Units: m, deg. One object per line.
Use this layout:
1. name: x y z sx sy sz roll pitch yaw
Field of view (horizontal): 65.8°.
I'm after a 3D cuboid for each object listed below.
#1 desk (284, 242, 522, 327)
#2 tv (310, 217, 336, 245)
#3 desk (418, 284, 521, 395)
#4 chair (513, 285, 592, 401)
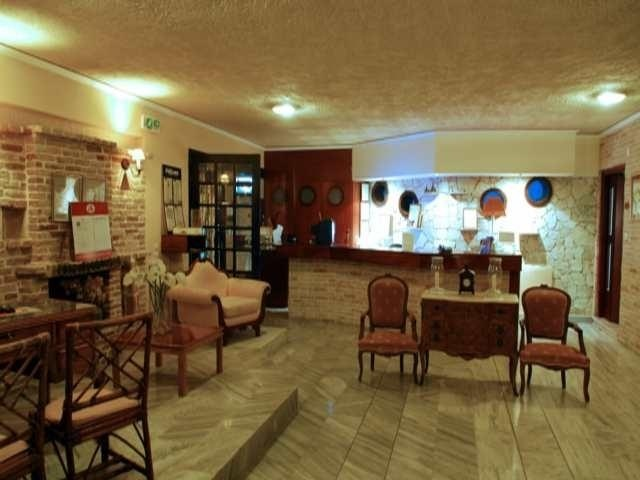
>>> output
1. desk: 1.210 0.823 7.780 3.804 1.371 1.299 1 12 13
2. tv: 0.115 -0.144 8.687 0.458 0.493 0.479 -4 2 -32
3. desk: 1.633 0.858 6.184 1.567 1.607 0.962 1 5 13
4. chair: 2.662 1.155 5.581 0.781 1.155 0.679 7 8 23
